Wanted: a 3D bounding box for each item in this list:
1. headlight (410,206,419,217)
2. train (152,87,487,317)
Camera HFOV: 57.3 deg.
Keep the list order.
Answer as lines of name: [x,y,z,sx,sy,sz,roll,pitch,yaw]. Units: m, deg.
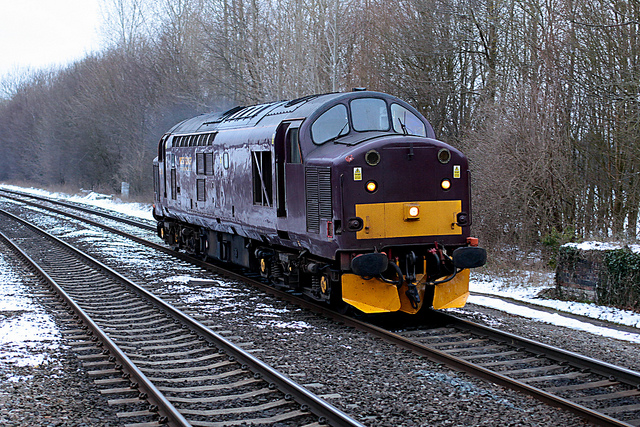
headlight: [1.914,-0.056,11.897,0.167,0.172,0.038,-1,3,-35]
train: [-1.275,-0.834,17.218,3.509,4.588,13.730,-4,6,-31]
